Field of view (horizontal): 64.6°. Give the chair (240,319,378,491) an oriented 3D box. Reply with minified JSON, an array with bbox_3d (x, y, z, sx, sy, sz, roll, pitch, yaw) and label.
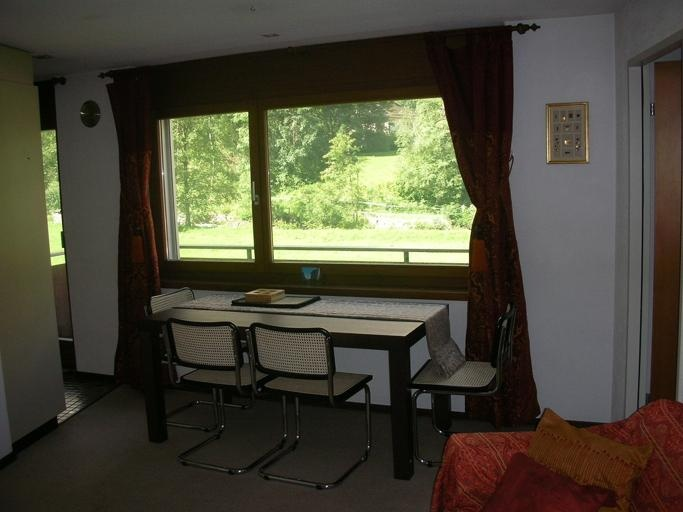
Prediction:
[{"bbox_3d":[-0.220,0.986,3.830,0.638,1.114,0.695,1,4,29],"label":"chair"}]

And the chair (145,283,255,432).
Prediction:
[{"bbox_3d":[-0.941,0.777,4.082,0.524,1.053,0.700,5,23,0],"label":"chair"}]

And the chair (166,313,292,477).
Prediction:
[{"bbox_3d":[-0.851,0.972,4.073,0.663,1.155,0.796,3,8,29],"label":"chair"}]

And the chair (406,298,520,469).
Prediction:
[{"bbox_3d":[0.851,0.924,3.827,0.679,1.059,0.637,3,9,36],"label":"chair"}]
